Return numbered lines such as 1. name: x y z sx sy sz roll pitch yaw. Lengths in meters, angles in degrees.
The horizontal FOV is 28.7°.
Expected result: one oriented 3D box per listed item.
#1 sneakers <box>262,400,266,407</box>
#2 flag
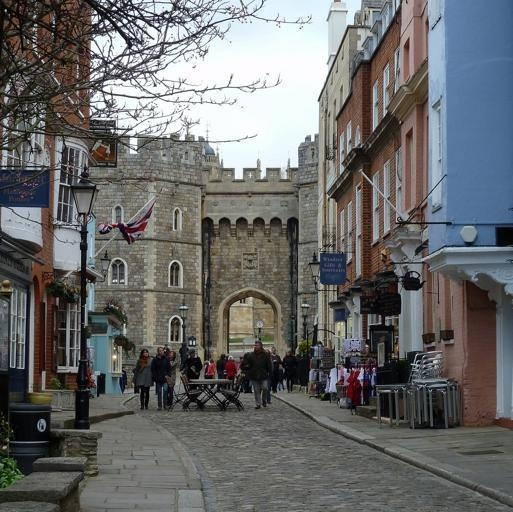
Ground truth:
1. sneakers: 0.188 3.768 25.404 0.100 0.246 0.117 1 -6 -1
2. flag: -3.800 -0.858 28.737 1.732 1.461 0.777 16 -34 -35
